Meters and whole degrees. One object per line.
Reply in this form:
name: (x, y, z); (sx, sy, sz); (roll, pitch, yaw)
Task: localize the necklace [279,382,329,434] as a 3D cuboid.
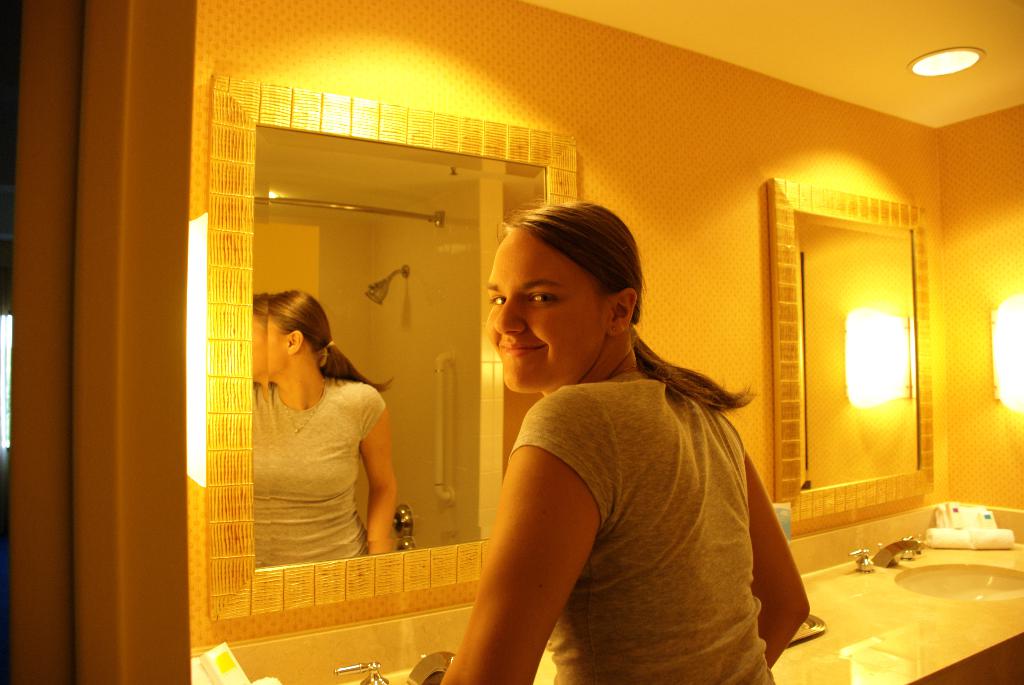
necklace: (-0.472, 0.150, 1.907); (0.067, 0.058, 0.087); (1, 24, 1)

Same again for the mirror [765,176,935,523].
mirror: (1.070, 0.039, 2.771); (1.160, 1.313, 0.060); (5, -4, -40)

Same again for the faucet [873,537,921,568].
faucet: (1.239, 0.666, 2.741); (0.202, 0.082, 0.065); (3, -3, -25)
